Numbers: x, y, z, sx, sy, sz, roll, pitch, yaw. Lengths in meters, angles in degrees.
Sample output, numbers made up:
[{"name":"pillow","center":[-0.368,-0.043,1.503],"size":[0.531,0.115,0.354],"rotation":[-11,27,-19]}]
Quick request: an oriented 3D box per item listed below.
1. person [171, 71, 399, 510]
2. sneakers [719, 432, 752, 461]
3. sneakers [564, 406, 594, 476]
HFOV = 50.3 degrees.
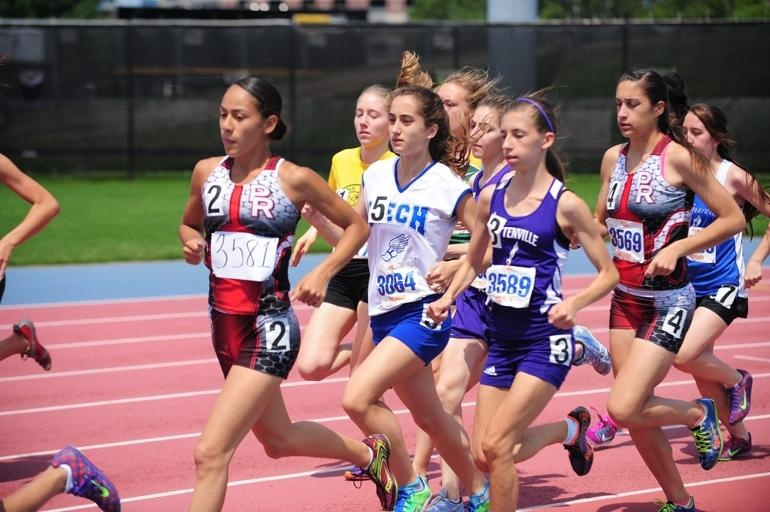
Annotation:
[{"name":"person","center":[-0.709,0.243,5.320],"size":[1.204,2.743,0.896],"rotation":[-3,12,-14]},{"name":"sneakers","center":[2.904,1.578,6.787],"size":[0.353,0.157,0.125],"rotation":[-3,-1,-22]},{"name":"sneakers","center":[1.471,1.387,6.129],"size":[0.184,0.554,0.219],"rotation":[8,21,42]}]
